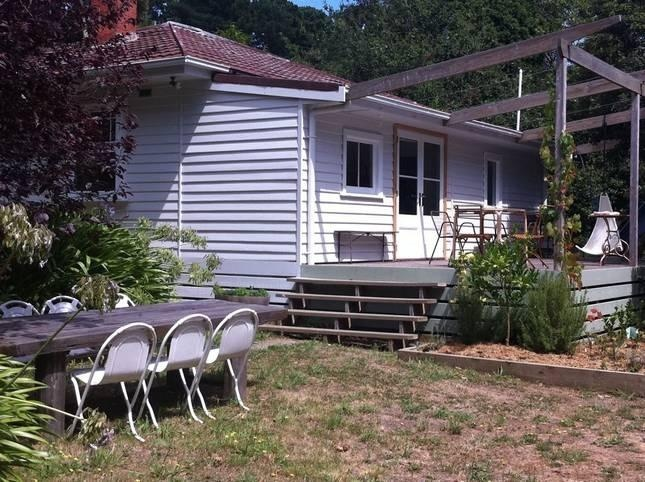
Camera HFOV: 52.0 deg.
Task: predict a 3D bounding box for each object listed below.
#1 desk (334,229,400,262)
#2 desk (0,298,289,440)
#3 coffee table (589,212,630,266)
[{"bbox_3d":[0.795,0.071,12.543,1.123,0.486,0.291,-1,6,-22],"label":"desk"},{"bbox_3d":[-2.174,1.313,7.527,3.183,1.043,2.288,3,-2,-40],"label":"desk"},{"bbox_3d":[5.639,-0.073,13.081,0.612,1.120,1.748,1,-2,24],"label":"coffee table"}]
